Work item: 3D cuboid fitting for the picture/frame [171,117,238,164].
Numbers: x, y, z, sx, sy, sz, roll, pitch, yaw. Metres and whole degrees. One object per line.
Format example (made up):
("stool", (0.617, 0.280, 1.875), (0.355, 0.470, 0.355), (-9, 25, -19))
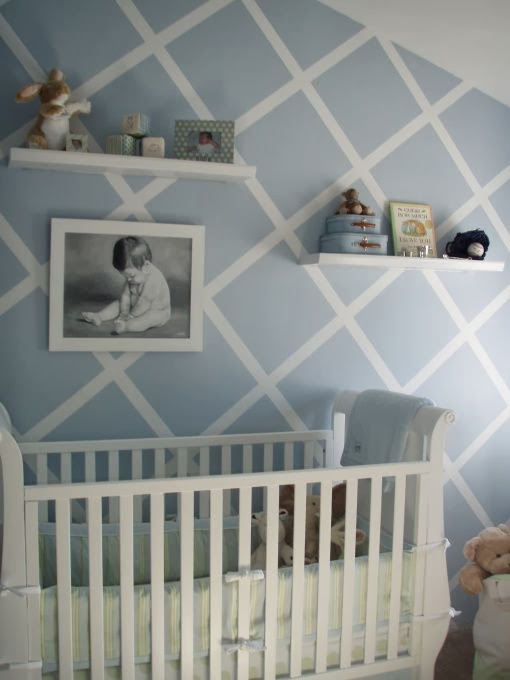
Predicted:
("picture/frame", (-0.172, -0.647, 2.360), (0.201, 0.138, 0.008), (3, 2, -7))

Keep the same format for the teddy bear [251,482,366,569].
("teddy bear", (0.157, 0.576, 2.230), (0.349, 0.295, 0.202), (-1, -10, 5))

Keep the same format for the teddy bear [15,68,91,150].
("teddy bear", (-0.624, -0.709, 2.262), (0.219, 0.275, 0.153), (-3, -13, -11))

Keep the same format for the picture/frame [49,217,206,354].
("picture/frame", (-0.449, -0.188, 2.416), (0.482, 0.387, 0.017), (1, 1, -17))

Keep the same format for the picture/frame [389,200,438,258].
("picture/frame", (0.598, -0.420, 2.768), (0.263, 0.299, 0.030), (0, -11, -26))

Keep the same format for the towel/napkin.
("towel/napkin", (0.411, 0.311, 2.303), (0.102, 0.268, 0.262), (11, -1, -25))

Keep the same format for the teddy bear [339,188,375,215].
("teddy bear", (0.366, -0.507, 2.649), (0.123, 0.096, 0.064), (-3, -5, -20))
